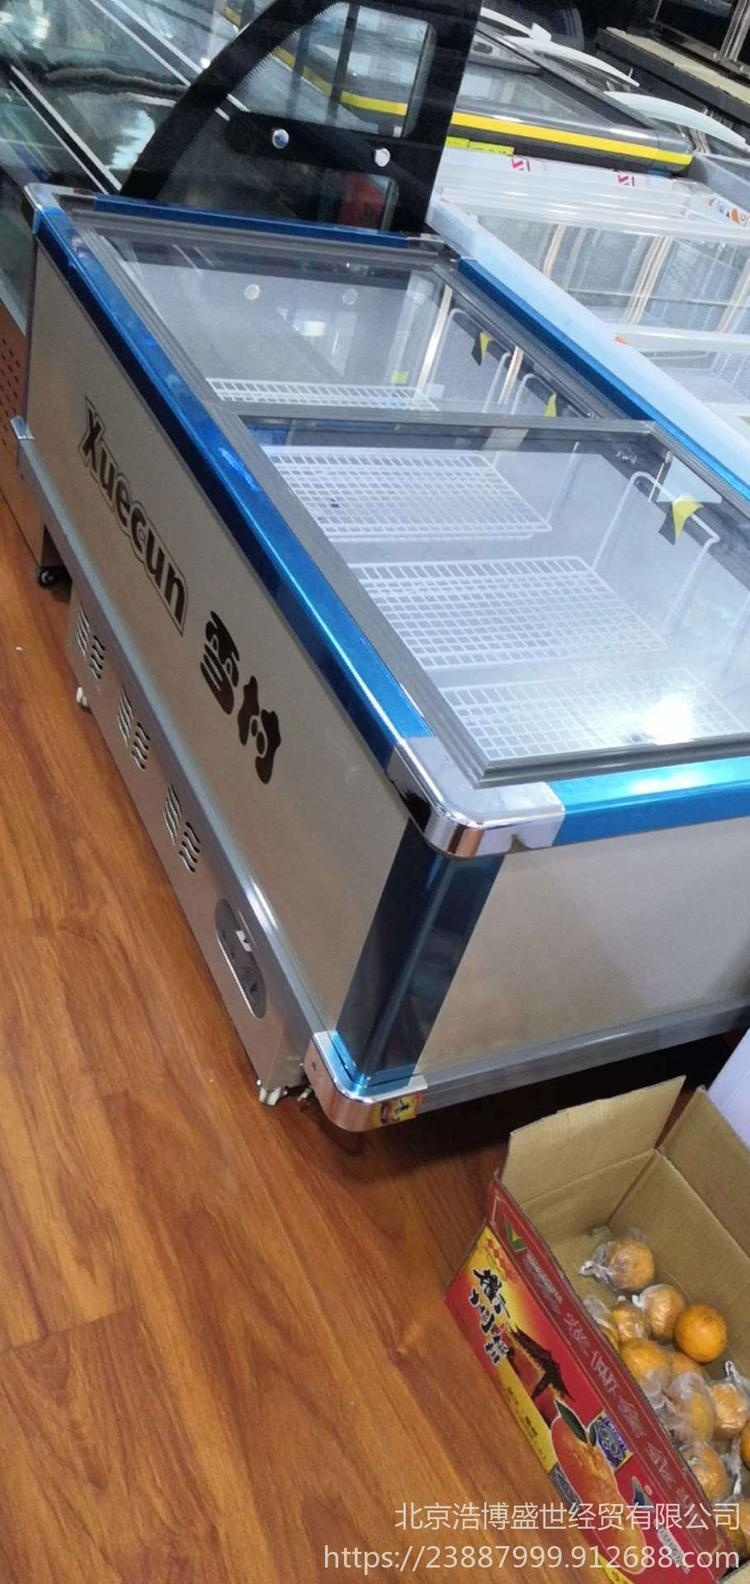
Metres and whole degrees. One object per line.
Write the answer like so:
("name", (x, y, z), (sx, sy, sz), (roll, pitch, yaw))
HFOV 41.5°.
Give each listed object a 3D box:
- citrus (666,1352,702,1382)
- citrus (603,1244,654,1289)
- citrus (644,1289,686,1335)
("citrus", (0.285, 0.528, 0.915), (0.021, 0.020, 0.029), (7, 8, -5))
("citrus", (0.256, 0.472, 0.989), (0.031, 0.043, 0.045), (0, 2, 25))
("citrus", (0.281, 0.499, 0.962), (0.029, 0.045, 0.021), (-9, -11, -28))
